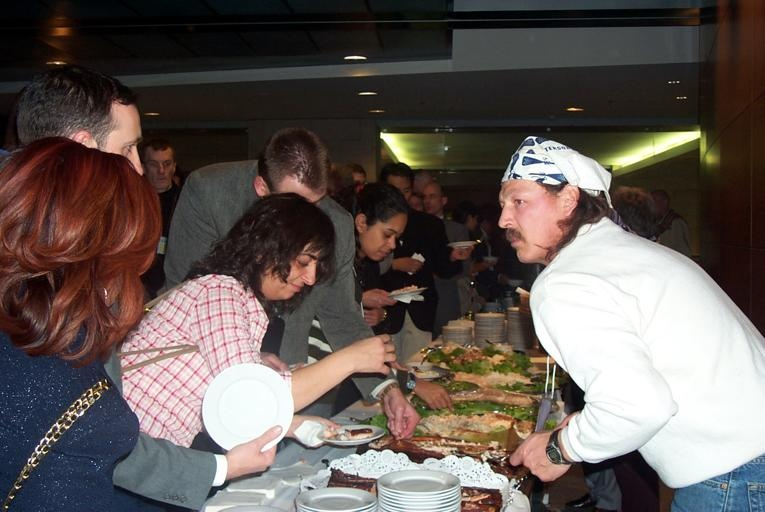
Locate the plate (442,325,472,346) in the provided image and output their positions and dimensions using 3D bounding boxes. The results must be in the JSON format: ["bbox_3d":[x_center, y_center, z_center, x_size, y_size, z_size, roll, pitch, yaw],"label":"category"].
[{"bbox_3d":[0.587,0.639,4.533,0.179,0.094,0.173,-1,4,-35],"label":"plate"}]

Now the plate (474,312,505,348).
[{"bbox_3d":[0.876,0.606,4.700,0.272,0.257,0.256,0,-3,-14],"label":"plate"}]
